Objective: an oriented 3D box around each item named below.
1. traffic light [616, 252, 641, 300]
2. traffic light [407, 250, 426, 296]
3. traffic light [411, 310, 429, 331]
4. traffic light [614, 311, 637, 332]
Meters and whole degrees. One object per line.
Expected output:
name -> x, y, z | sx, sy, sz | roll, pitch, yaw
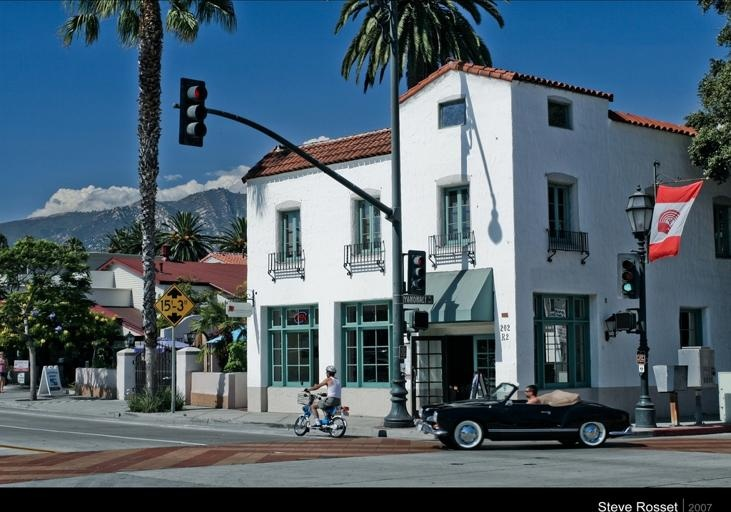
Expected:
traffic light -> 8.261, 0.585, 32.009 | 0.660, 1.469, 0.695 | -4, -10, 12
traffic light -> 1.570, 0.557, 31.590 | 0.550, 1.351, 0.512 | -2, -10, 2
traffic light -> 1.689, 2.024, 31.605 | 0.516, 0.572, 0.360 | 1, -10, -12
traffic light -> 8.320, 2.087, 32.269 | 0.765, 0.767, 0.672 | 0, -3, 29
